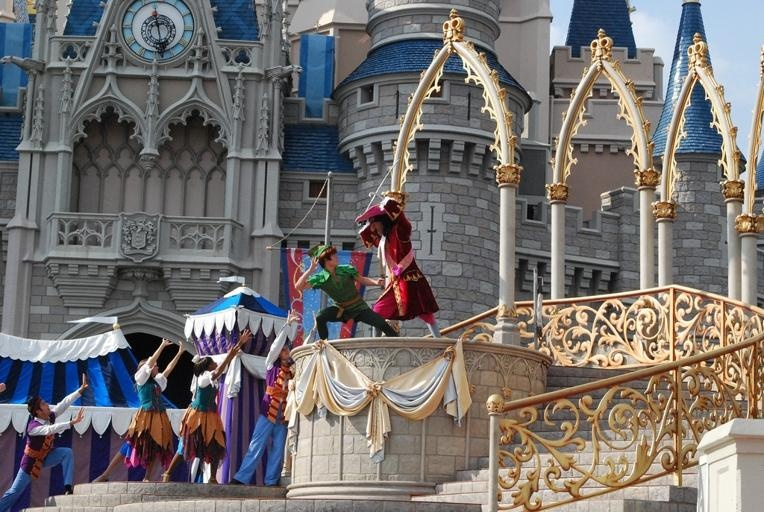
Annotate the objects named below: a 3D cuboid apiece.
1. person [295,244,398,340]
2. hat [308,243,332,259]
[{"bbox_3d":[-0.646,0.661,35.719,1.485,1.646,0.804,-15,-35,-14],"label":"person"},{"bbox_3d":[-0.998,-0.072,32.839,0.253,0.084,0.249,-13,0,-43],"label":"hat"}]
